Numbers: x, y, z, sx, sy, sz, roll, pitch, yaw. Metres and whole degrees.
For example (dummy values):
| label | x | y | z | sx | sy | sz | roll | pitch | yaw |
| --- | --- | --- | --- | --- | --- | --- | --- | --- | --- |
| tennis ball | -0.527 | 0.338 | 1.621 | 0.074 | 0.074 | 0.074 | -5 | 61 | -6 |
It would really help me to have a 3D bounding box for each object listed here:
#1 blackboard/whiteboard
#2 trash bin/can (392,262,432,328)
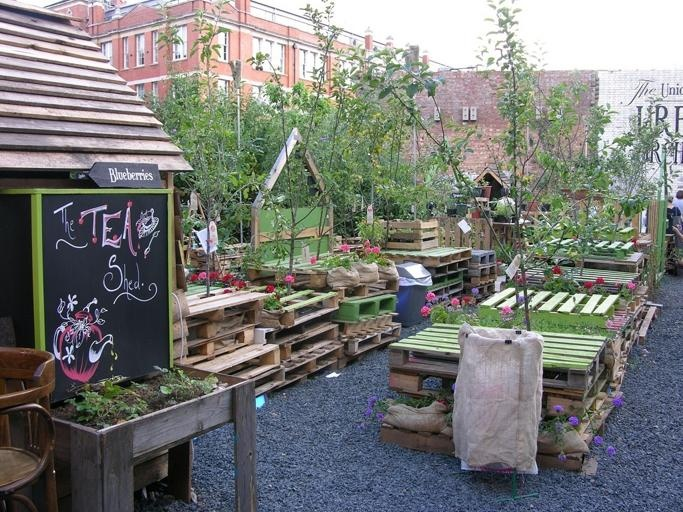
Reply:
| label | x | y | z | sx | sy | sz | roll | pitch | yaw |
| --- | --- | --- | --- | --- | --- | --- | --- | --- | --- |
| blackboard/whiteboard | -1.464 | 0.209 | 3.308 | 0.127 | 1.212 | 0.913 | 8 | 12 | 35 |
| trash bin/can | 1.123 | 0.622 | 8.355 | 0.431 | 0.927 | 0.755 | 7 | 12 | 33 |
